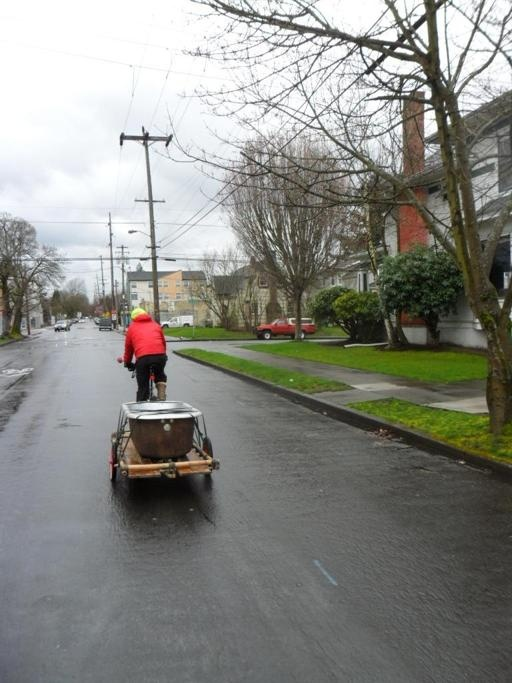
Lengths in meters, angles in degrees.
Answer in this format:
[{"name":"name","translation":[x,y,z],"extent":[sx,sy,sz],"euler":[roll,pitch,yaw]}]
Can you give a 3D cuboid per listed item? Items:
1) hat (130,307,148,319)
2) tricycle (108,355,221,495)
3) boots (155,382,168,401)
[{"name":"hat","translation":[-1.955,-0.436,8.150],"extent":[0.255,0.237,0.203],"euler":[-10,16,-9]},{"name":"tricycle","translation":[-1.021,1.157,5.324],"extent":[1.093,0.897,1.137],"euler":[0,-1,-17]},{"name":"boots","translation":[-1.534,0.808,7.696],"extent":[0.205,0.301,0.702],"euler":[1,-13,-12]}]
